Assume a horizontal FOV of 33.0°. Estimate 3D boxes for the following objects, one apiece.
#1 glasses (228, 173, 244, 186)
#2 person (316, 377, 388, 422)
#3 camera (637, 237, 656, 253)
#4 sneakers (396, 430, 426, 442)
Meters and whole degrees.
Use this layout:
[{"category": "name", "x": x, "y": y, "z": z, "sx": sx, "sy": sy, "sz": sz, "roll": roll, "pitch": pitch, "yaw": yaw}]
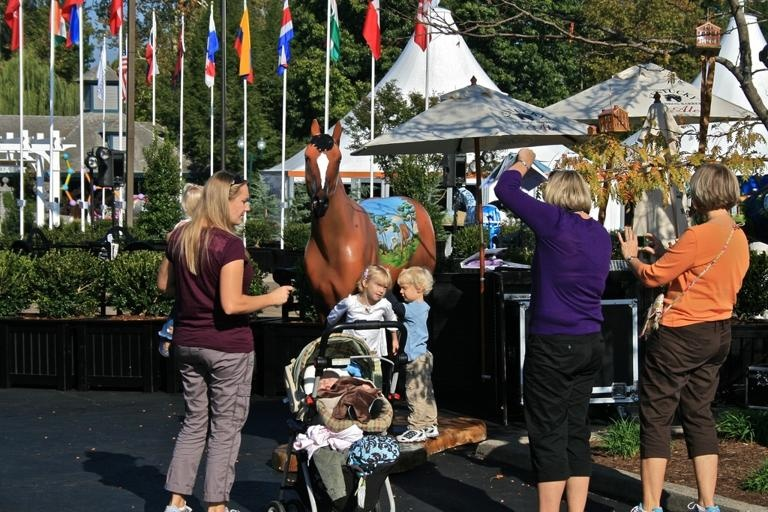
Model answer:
[{"category": "glasses", "x": -2.184, "y": -1.112, "z": 19.158, "sx": 0.044, "sy": 0.155, "sz": 0.153, "roll": -9, "pitch": -3, "yaw": 35}, {"category": "person", "x": -0.692, "y": 2.039, "z": 19.178, "sx": 0.803, "sy": 0.254, "sz": 0.699, "roll": 12, "pitch": 15, "yaw": 28}, {"category": "camera", "x": 4.324, "y": -0.174, "z": 21.430, "sx": 0.285, "sy": 0.303, "sz": 0.544, "roll": -6, "pitch": -2, "yaw": 30}, {"category": "sneakers", "x": 0.451, "y": 2.923, "z": 20.957, "sx": 0.420, "sy": 0.194, "sz": 0.194, "roll": 1, "pitch": -1, "yaw": -11}]
